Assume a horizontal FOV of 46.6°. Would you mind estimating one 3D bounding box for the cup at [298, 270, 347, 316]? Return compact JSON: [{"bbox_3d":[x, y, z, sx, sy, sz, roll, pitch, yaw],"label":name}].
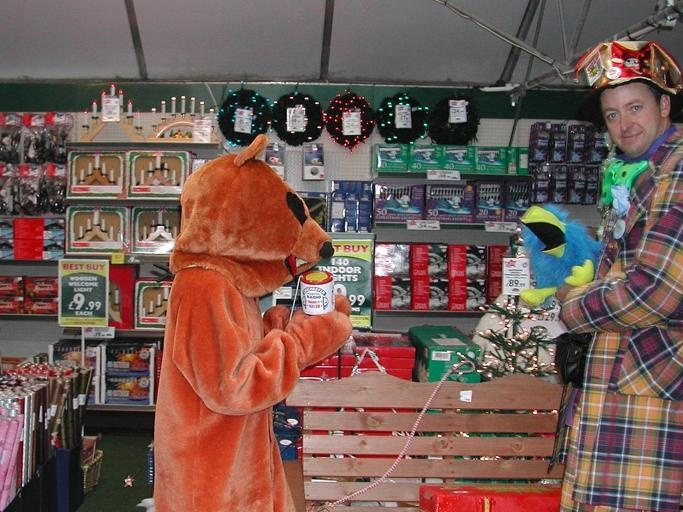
[{"bbox_3d":[-0.081,0.163,3.663,0.213,0.178,0.209,0,7,0],"label":"cup"}]
